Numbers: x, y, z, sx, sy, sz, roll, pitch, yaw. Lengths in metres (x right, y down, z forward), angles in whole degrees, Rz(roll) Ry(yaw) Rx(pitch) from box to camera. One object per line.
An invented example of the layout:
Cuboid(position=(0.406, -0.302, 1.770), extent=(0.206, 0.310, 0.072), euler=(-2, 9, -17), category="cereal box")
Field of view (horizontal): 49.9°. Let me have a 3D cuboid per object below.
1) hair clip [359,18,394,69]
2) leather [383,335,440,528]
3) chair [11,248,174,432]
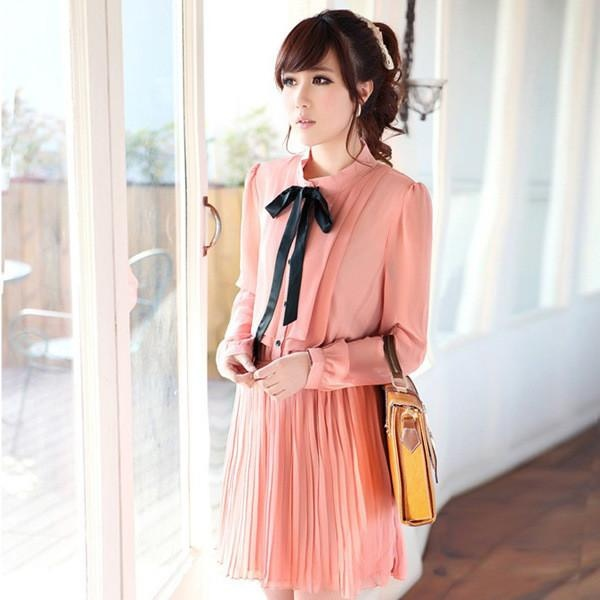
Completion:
Cuboid(position=(0.168, -0.545, 1.376), extent=(0.028, 0.099, 0.074), euler=(-28, 47, 5), category="hair clip")
Cuboid(position=(0.223, 0.262, 1.320), extent=(0.105, 0.347, 0.187), euler=(0, 15, 7), category="leather")
Cuboid(position=(-0.379, 0.062, 1.224), extent=(0.216, 0.351, 0.223), euler=(6, 9, -11), category="chair")
